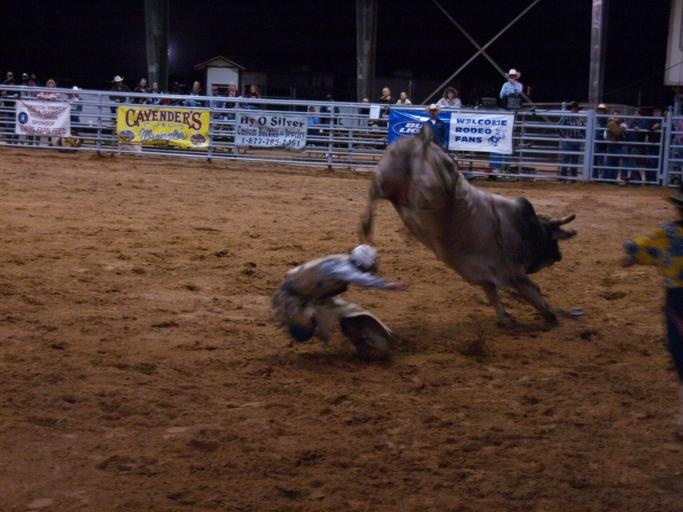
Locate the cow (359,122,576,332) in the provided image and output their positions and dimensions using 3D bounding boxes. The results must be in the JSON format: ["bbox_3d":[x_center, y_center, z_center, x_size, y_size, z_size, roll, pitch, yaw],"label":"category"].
[{"bbox_3d":[1.288,-0.240,6.809,2.385,1.894,0.671,-4,12,-40],"label":"cow"}]

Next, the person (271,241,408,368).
[{"bbox_3d":[-0.031,0.404,6.555,1.320,0.910,0.635,9,7,-7],"label":"person"}]

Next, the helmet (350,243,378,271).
[{"bbox_3d":[0.196,0.019,6.274,0.245,0.230,0.202,2,8,0],"label":"helmet"}]
